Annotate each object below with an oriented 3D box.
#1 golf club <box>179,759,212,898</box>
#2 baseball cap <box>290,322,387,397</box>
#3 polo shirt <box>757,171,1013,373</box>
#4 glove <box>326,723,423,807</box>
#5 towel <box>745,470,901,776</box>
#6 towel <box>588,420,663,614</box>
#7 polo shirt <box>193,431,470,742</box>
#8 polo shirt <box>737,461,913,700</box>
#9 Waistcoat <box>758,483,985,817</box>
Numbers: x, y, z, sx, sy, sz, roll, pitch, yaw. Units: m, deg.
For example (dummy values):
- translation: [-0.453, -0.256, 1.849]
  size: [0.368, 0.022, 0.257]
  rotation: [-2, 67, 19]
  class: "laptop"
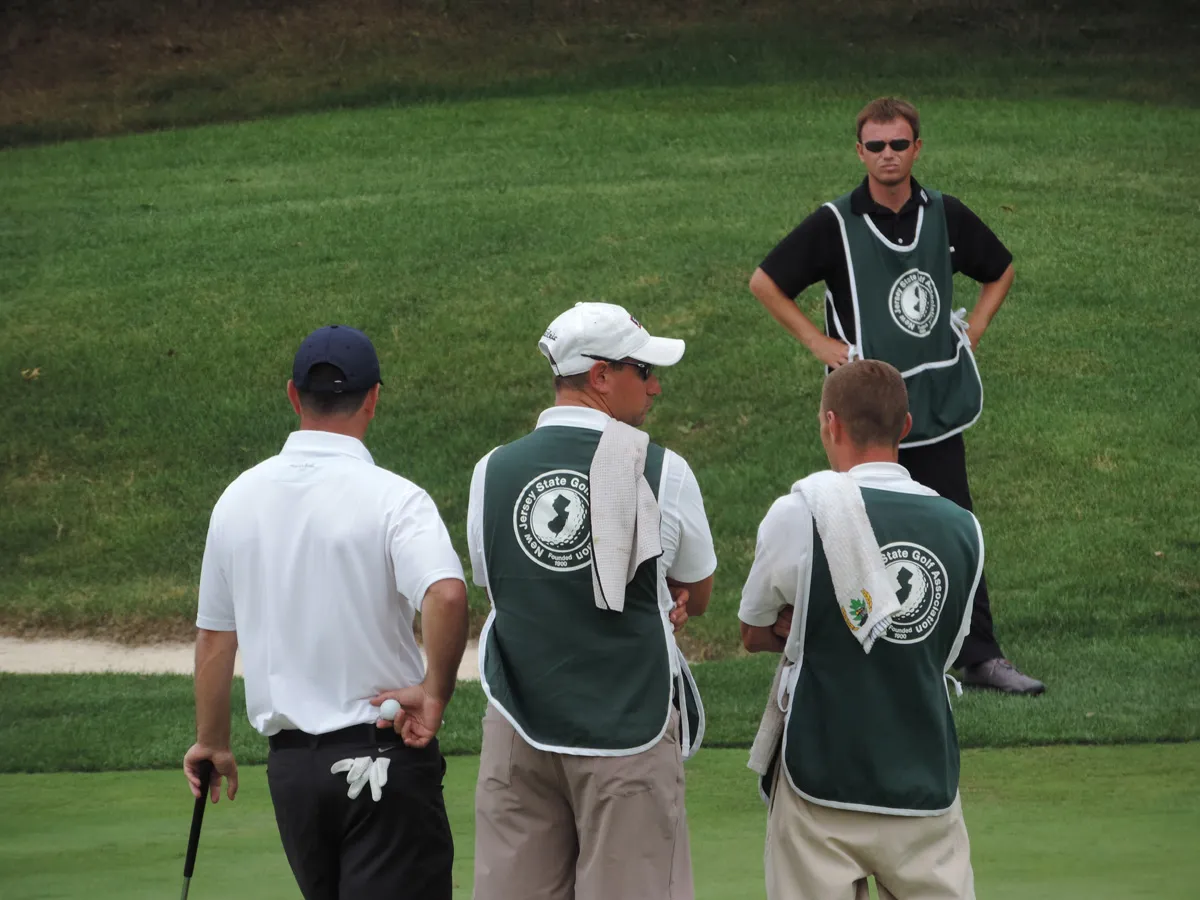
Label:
- translation: [-2.007, 1.931, 12.510]
  size: [0.104, 0.767, 0.127]
  rotation: [9, 7, -8]
  class: "golf club"
- translation: [-1.278, -0.443, 12.062]
  size: [0.397, 0.344, 0.592]
  rotation: [0, 4, -6]
  class: "baseball cap"
- translation: [1.546, -1.008, 13.531]
  size: [1.372, 0.966, 0.418]
  rotation: [-9, 30, -11]
  class: "polo shirt"
- translation: [-1.092, 1.498, 11.708]
  size: [0.324, 0.310, 0.090]
  rotation: [-5, 13, -4]
  class: "glove"
- translation: [1.075, 0.819, 11.859]
  size: [0.671, 1.294, 0.401]
  rotation: [0, 1, 0]
  class: "towel"
- translation: [0.117, 0.322, 11.756]
  size: [0.335, 0.855, 0.337]
  rotation: [-4, 13, 0]
  class: "towel"
- translation: [-1.327, 0.655, 11.985]
  size: [1.275, 1.471, 0.774]
  rotation: [-2, 6, 8]
  class: "polo shirt"
- translation: [0.815, 0.584, 11.771]
  size: [0.791, 0.887, 0.259]
  rotation: [5, 9, 13]
  class: "polo shirt"
- translation: [1.342, 0.812, 11.960]
  size: [0.897, 1.685, 0.935]
  rotation: [-3, 26, -13]
  class: "Waistcoat"
